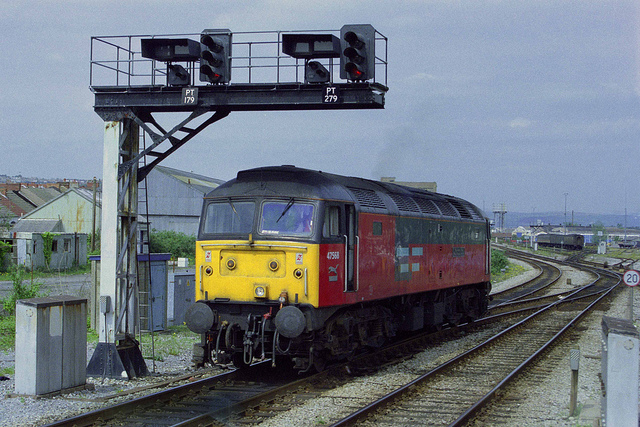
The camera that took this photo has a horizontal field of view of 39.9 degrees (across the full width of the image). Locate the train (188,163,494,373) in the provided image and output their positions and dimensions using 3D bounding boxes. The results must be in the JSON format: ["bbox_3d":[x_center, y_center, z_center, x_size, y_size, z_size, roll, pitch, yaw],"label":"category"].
[{"bbox_3d":[1.708,1.772,31.759,4.387,6.110,16.490,0,0,29],"label":"train"}]
